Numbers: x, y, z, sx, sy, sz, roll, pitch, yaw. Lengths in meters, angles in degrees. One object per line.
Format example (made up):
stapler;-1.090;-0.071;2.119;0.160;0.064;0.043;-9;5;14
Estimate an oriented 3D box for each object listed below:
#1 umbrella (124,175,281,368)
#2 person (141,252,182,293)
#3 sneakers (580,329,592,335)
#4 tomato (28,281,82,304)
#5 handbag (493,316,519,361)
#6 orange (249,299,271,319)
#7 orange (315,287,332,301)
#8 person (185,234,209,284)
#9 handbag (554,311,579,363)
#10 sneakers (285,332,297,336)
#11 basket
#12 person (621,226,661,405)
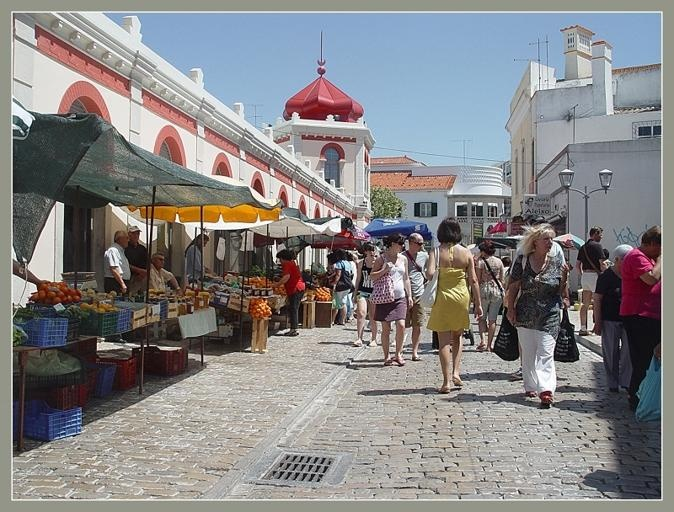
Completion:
umbrella;-2.702;0.338;12.972;3.288;2.381;3.361;-1;-8;1
person;-3.581;0.317;13.361;0.602;1.306;0.825;-1;5;2
sneakers;5.380;1.647;14.438;0.124;0.139;0.306;-1;-5;30
tomato;-3.359;0.446;7.853;0.299;0.157;0.403;2;-4;35
handbag;2.302;1.242;9.524;0.331;0.693;0.283;5;-37;-22
orange;-1.484;0.943;12.520;0.283;0.419;0.133;2;3;-30
orange;-0.371;1.000;17.349;0.303;0.196;0.336;1;8;3
person;-3.320;0.342;15.603;0.503;1.813;0.531;5;23;-5
handbag;3.161;0.989;9.228;0.386;1.003;0.267;3;19;22
sneakers;-1.058;1.747;15.115;0.272;0.114;0.111;2;-1;-4
basket;-3.045;1.259;8.211;0.836;1.463;3.019;-2;-3;9
person;3.663;0.744;8.005;0.497;2.198;0.519;-3;-3;33
